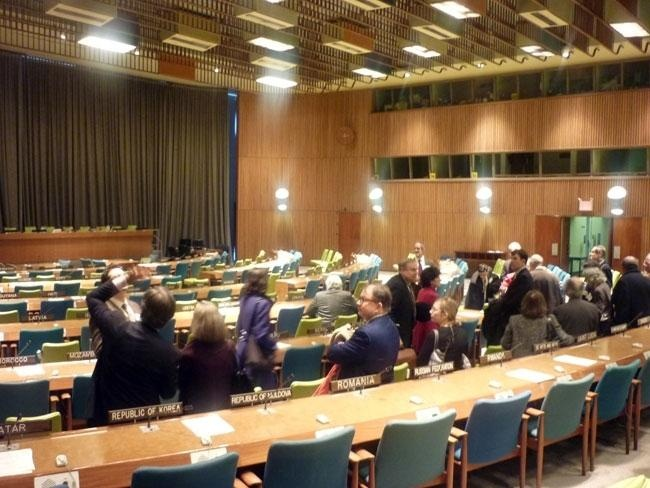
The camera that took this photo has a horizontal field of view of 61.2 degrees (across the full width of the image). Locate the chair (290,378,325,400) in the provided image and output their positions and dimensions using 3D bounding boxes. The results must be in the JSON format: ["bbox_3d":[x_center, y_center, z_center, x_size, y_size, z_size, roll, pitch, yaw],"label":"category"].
[{"bbox_3d":[-0.176,1.263,4.941,0.184,0.245,0.193,0,-6,9],"label":"chair"}]

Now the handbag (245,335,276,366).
[{"bbox_3d":[-0.606,0.977,5.099,0.077,0.214,0.196,-24,-35,30],"label":"handbag"}]

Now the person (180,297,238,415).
[{"bbox_3d":[-0.963,1.091,4.693,0.448,1.452,0.430,-8,34,-20],"label":"person"}]

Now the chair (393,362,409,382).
[{"bbox_3d":[0.717,1.206,5.160,0.140,0.146,0.155,0,6,-3],"label":"chair"}]

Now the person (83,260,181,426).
[{"bbox_3d":[-1.462,0.794,4.194,0.685,0.952,0.344,-4,3,18],"label":"person"}]

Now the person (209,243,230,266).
[{"bbox_3d":[-3.330,0.331,17.394,0.622,0.637,1.989,4,0,-20],"label":"person"}]
